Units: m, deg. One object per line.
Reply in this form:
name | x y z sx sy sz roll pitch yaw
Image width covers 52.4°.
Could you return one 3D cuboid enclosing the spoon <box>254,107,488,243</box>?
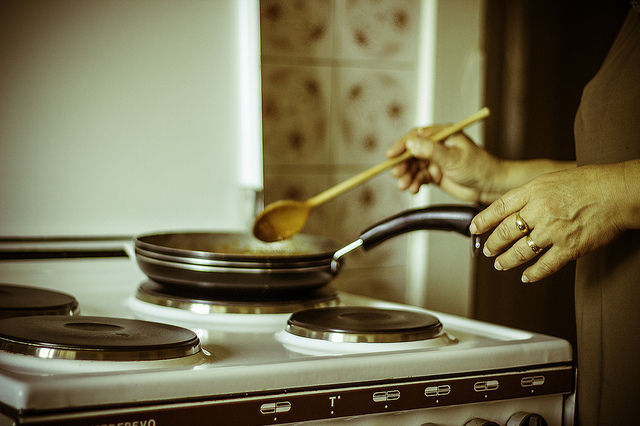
spoon | 0.098 -0.093 1.471 0.639 0.109 0.061 -28 3 1
